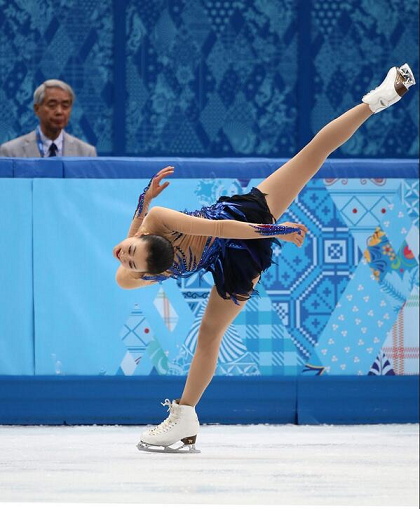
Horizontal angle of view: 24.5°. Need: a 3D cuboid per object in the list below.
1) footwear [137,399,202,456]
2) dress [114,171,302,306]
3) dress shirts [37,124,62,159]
[{"bbox_3d":[-0.181,0.748,4.173,0.316,0.194,0.157,4,2,-24],"label":"footwear"},{"bbox_3d":[-0.036,-0.039,4.025,0.582,0.699,0.451,7,-48,50],"label":"dress"},{"bbox_3d":[-0.860,-0.583,5.144,0.175,0.196,0.125,-2,0,-13],"label":"dress shirts"}]
